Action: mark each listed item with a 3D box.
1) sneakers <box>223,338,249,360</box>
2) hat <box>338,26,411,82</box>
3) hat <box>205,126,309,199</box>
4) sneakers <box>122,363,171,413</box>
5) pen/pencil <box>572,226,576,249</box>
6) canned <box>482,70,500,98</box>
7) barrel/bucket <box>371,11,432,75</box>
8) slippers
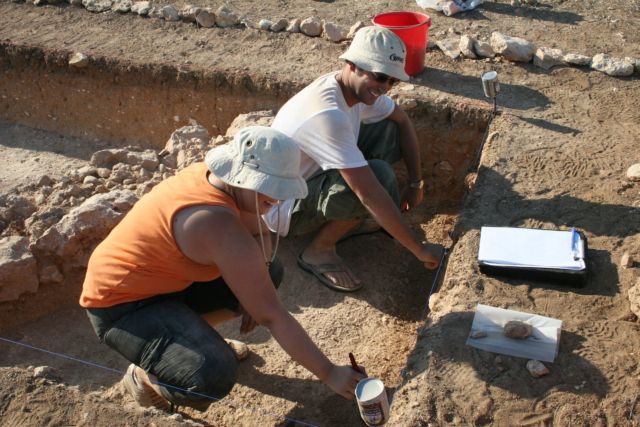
[{"bbox_3d":[-0.528,0.887,4.851,0.191,0.155,0.088,17,89,24],"label":"sneakers"},{"bbox_3d":[0.387,-1.029,4.802,0.407,0.206,0.327,25,15,14],"label":"hat"},{"bbox_3d":[-0.344,-0.288,4.160,0.471,0.227,0.443,21,20,2],"label":"hat"},{"bbox_3d":[-1.044,1.083,4.552,0.240,0.318,0.143,39,80,23],"label":"sneakers"},{"bbox_3d":[1.631,0.165,4.742,0.029,0.025,0.177,12,53,9],"label":"pen/pencil"},{"bbox_3d":[1.279,-0.962,5.514,0.134,0.136,0.124,0,39,29],"label":"canned"},{"bbox_3d":[0.697,-1.357,6.040,0.459,0.403,0.446,-8,23,3],"label":"barrel/bucket"},{"bbox_3d":[0.067,0.416,5.203,0.390,0.104,0.190,26,43,24],"label":"slippers"}]
